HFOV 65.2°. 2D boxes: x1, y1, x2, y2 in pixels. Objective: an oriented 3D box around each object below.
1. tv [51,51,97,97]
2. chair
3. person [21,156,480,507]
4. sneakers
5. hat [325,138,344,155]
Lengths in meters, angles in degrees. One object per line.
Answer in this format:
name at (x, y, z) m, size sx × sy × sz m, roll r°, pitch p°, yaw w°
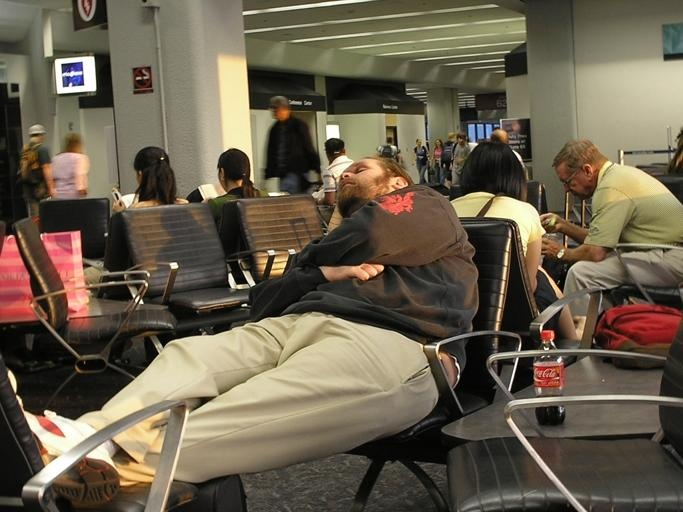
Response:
tv at (-6.885, -4.703, 13.856) m, size 1.238 × 0.940 × 0.417 m, roll 3°, pitch 14°, yaw 28°
chair at (-0.061, 0.256, 2.094) m, size 1.804 × 0.968 × 0.807 m, roll -1°, pitch 0°, yaw -45°
person at (-0.118, 0.261, 2.048) m, size 0.747 × 0.893 × 1.750 m, roll 7°, pitch 16°, yaw 39°
sneakers at (-0.723, 0.538, 1.452) m, size 0.191 × 0.237 × 0.372 m, roll -10°, pitch 14°, yaw -26°
hat at (-0.094, -1.658, 8.073) m, size 0.225 × 0.257 × 0.274 m, roll 1°, pitch 14°, yaw 3°
